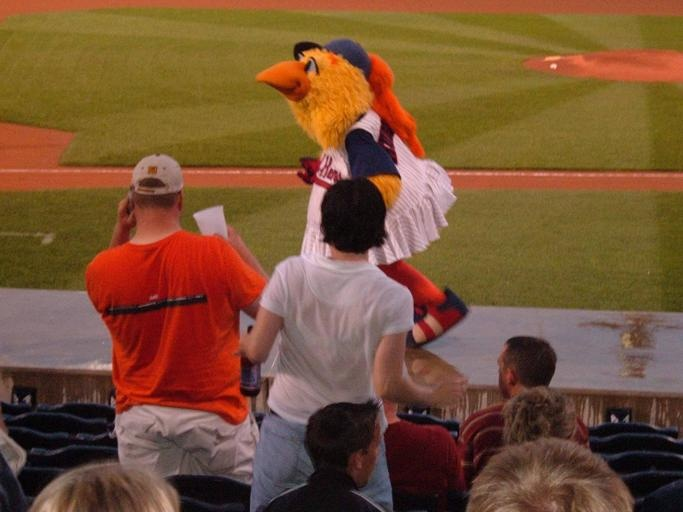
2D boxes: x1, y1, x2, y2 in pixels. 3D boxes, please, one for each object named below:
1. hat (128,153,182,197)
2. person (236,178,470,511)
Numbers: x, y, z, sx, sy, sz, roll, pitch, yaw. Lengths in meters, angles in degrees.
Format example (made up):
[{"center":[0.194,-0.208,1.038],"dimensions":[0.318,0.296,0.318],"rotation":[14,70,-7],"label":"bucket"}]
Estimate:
[{"center":[-1.028,-0.483,7.593],"dimensions":[0.212,0.147,0.268],"rotation":[0,35,-5],"label":"hat"},{"center":[-0.056,0.476,7.334],"dimensions":[0.977,1.798,0.255],"rotation":[0,-3,-5],"label":"person"}]
